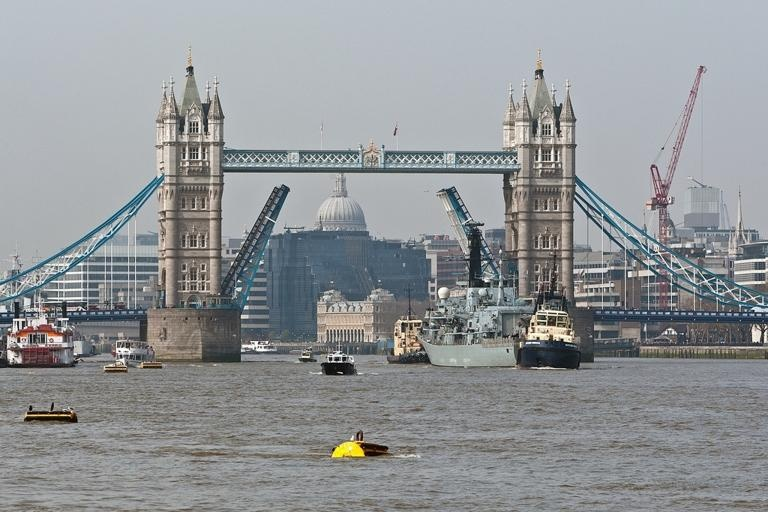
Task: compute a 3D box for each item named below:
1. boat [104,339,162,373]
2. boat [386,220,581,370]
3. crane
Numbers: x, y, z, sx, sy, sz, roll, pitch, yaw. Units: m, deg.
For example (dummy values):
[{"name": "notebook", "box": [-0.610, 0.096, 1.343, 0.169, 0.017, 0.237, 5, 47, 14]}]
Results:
[{"name": "boat", "box": [-28.299, 11.537, 269.851, 5.337, 2.517, 9.169, 0, -4, 3]}, {"name": "boat", "box": [11.637, 4.260, 255.295, 9.391, 16.753, 31.403, 0, -6, -14]}, {"name": "crane", "box": [29.865, -6.249, 240.597, 3.547, 26.518, 7.721, 22, -34, -28]}]
